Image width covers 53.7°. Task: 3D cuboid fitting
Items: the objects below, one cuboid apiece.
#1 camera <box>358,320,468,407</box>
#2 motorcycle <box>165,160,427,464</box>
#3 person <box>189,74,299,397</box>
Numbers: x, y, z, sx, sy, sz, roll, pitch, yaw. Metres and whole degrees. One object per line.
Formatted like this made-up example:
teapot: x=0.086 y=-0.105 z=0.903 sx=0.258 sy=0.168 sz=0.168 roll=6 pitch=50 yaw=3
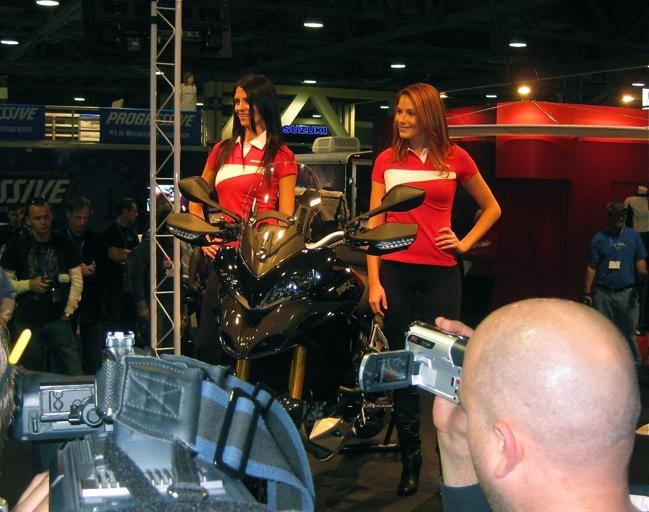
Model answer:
camera: x=0.183 y=0.195 z=1.150 sx=0.177 sy=0.110 sz=0.115 roll=5 pitch=7 yaw=23
motorcycle: x=-0.204 y=0.344 z=2.957 sx=1.011 sy=1.353 sz=1.030 roll=2 pitch=2 yaw=-10
person: x=-0.446 y=0.011 z=3.261 sx=0.573 sy=1.824 sz=0.589 roll=6 pitch=8 yaw=27
